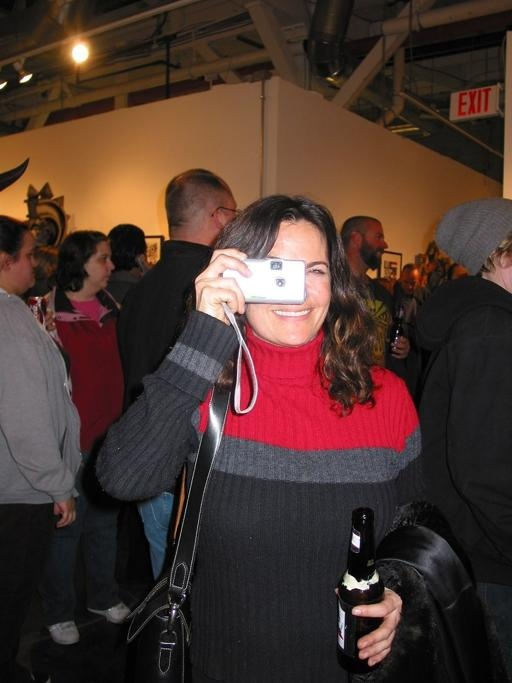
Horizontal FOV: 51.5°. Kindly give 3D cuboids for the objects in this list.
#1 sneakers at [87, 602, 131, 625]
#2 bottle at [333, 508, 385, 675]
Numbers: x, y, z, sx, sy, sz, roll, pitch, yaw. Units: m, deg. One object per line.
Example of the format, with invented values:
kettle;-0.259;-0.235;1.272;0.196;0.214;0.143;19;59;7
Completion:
sneakers;-0.774;1.439;2.822;0.156;0.057;0.111;4;0;-9
bottle;0.197;0.456;0.991;0.086;0.339;0.083;3;14;-1
